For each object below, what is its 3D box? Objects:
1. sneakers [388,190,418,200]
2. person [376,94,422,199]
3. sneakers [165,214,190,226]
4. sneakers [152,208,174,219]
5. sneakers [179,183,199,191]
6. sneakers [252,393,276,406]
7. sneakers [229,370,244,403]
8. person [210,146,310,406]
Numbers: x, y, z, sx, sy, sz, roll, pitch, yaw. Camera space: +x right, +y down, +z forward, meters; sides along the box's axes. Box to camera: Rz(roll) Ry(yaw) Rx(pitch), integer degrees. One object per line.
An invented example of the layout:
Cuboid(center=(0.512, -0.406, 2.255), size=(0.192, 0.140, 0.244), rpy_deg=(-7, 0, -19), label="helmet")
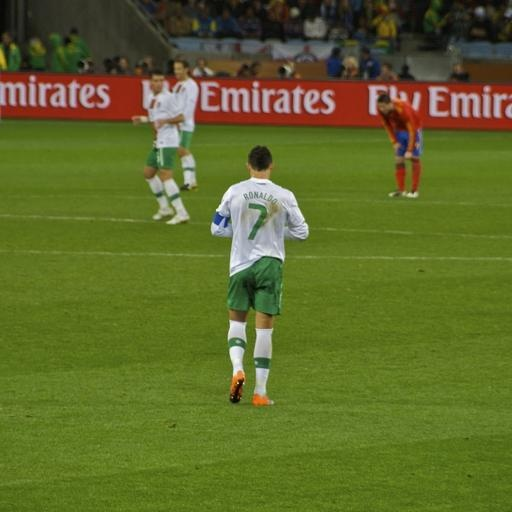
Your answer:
Cuboid(center=(2.329, -0.958, 21.744), size=(0.422, 0.216, 0.173), rpy_deg=(4, 2, 8), label="sneakers")
Cuboid(center=(2.154, -1.596, 20.578), size=(0.636, 1.726, 1.873), rpy_deg=(1, 12, 7), label="person")
Cuboid(center=(-1.064, -0.500, 18.607), size=(0.325, 0.166, 0.132), rpy_deg=(-3, 19, 8), label="sneakers")
Cuboid(center=(-1.291, -0.582, 19.114), size=(0.182, 0.072, 0.139), rpy_deg=(-13, -12, -1), label="sneakers")
Cuboid(center=(-1.101, -1.097, 22.359), size=(0.293, 0.147, 0.112), rpy_deg=(3, 30, 0), label="sneakers")
Cuboid(center=(0.048, 1.175, 11.353), size=(0.138, 0.105, 0.086), rpy_deg=(-4, 22, -8), label="sneakers")
Cuboid(center=(-0.156, 1.070, 11.135), size=(0.087, 0.298, 0.144), rpy_deg=(9, 24, 0), label="sneakers")
Cuboid(center=(0.031, 0.176, 11.272), size=(0.726, 2.053, 0.622), rpy_deg=(-3, 11, -14), label="person")
